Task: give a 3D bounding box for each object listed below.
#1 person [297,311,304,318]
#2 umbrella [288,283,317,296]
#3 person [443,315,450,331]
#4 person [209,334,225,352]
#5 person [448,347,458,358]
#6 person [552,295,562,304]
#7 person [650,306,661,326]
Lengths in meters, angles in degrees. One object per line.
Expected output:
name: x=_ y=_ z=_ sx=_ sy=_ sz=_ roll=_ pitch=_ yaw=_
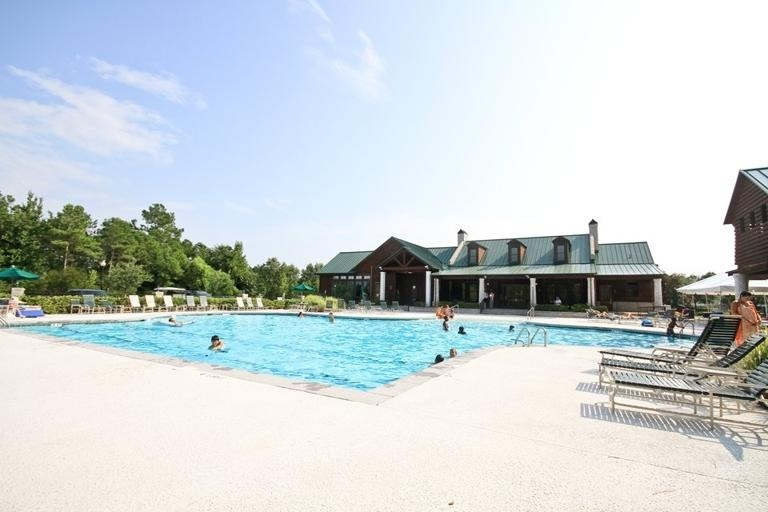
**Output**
person: x=-5.919 y=4.281 z=32.533 sx=0.349 sy=0.469 sz=0.735 roll=-2 pitch=-7 yaw=-10
umbrella: x=-10.788 y=4.446 z=59.086 sx=2.376 sy=1.217 sz=2.458 roll=2 pitch=-7 yaw=-10
person: x=3.606 y=4.001 z=26.336 sx=0.357 sy=0.716 sz=1.011 roll=1 pitch=3 yaw=7
person: x=-7.943 y=4.161 z=21.257 sx=0.702 sy=0.703 sz=0.452 roll=-5 pitch=-18 yaw=-3
person: x=2.578 y=3.712 z=16.804 sx=0.350 sy=0.376 sz=0.797 roll=-4 pitch=-34 yaw=4
person: x=14.526 y=3.681 z=37.622 sx=0.468 sy=0.393 sz=1.071 roll=-20 pitch=-4 yaw=27
person: x=18.270 y=4.060 z=30.119 sx=0.527 sy=0.729 sz=0.393 roll=9 pitch=-10 yaw=-19
